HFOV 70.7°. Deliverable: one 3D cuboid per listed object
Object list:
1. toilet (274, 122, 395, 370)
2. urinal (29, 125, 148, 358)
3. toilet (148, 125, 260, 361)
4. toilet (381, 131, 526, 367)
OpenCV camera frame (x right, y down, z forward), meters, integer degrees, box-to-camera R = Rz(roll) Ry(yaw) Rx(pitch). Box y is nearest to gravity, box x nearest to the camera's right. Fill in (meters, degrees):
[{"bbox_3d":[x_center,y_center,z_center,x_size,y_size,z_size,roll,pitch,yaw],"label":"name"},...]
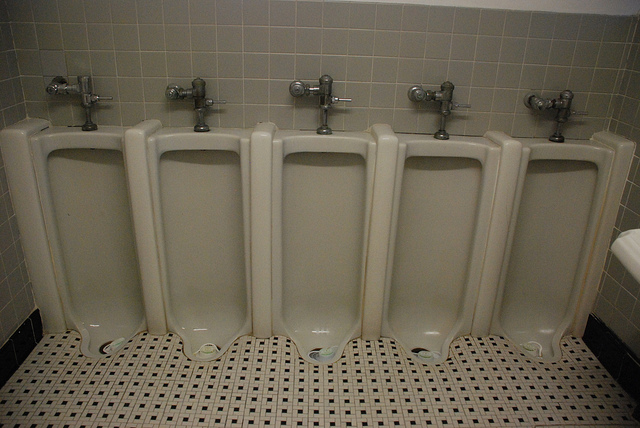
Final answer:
[{"bbox_3d":[0.063,0.157,2.271,0.587,1.142,0.384,0,22,-7],"label":"toilet"},{"bbox_3d":[-1.151,0.134,2.291,0.470,1.104,0.366,2,22,0],"label":"urinal"},{"bbox_3d":[-0.569,0.139,2.278,0.509,1.138,0.350,5,22,6],"label":"toilet"},{"bbox_3d":[0.627,0.160,2.327,0.581,1.126,0.427,-8,24,-25],"label":"toilet"}]
